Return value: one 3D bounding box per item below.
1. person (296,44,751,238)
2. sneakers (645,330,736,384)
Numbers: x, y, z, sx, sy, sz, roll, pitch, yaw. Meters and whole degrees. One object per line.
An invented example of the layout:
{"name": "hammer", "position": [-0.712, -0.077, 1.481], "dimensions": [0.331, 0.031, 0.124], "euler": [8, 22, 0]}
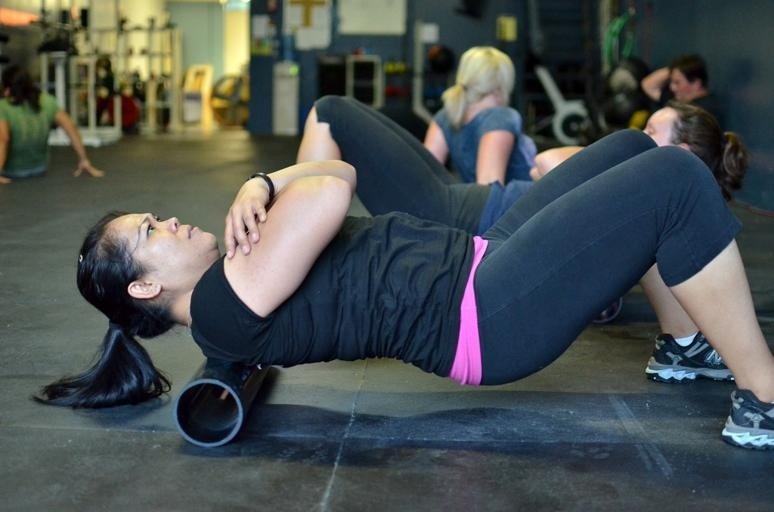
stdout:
{"name": "person", "position": [0.428, -0.408, 2.763], "dimensions": [1.380, 0.591, 0.919], "euler": [-5, 12, -10]}
{"name": "sneakers", "position": [1.022, 0.334, 2.398], "dimensions": [0.301, 0.138, 0.123], "euler": [-1, 5, -2]}
